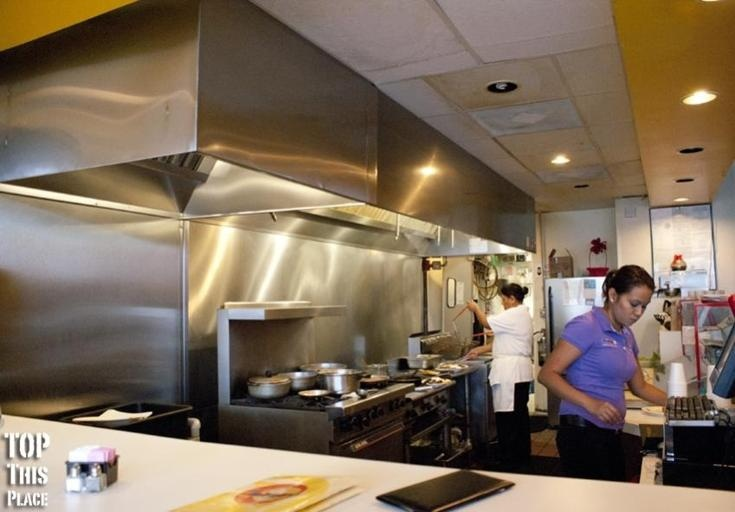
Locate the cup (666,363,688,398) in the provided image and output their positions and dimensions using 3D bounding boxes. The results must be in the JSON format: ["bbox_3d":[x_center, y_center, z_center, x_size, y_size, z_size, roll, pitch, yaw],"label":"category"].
[{"bbox_3d":[1.452,0.577,2.604,0.073,0.145,0.141,-2,-6,26],"label":"cup"}]

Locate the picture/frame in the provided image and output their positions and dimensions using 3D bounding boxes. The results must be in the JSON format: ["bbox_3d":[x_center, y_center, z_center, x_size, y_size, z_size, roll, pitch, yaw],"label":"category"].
[{"bbox_3d":[3.886,-0.072,6.840,0.742,1.132,0.016,-4,3,3],"label":"picture/frame"}]

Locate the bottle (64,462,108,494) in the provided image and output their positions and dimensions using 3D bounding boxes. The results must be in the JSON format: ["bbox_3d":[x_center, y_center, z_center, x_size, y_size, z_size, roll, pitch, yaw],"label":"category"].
[{"bbox_3d":[-0.929,0.729,1.828,0.122,0.095,0.034,1,-6,-7],"label":"bottle"}]

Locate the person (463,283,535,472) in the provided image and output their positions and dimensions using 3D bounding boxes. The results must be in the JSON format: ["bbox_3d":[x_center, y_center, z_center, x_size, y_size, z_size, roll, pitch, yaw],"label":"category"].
[{"bbox_3d":[1.341,1.181,5.576,0.608,1.799,0.725,-1,-6,13],"label":"person"}]

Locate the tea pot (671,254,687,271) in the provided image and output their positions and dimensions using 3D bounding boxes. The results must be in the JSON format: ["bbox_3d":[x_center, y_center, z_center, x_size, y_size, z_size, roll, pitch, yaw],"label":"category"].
[{"bbox_3d":[3.833,0.073,6.809,0.201,0.209,0.149,0,-6,10],"label":"tea pot"}]

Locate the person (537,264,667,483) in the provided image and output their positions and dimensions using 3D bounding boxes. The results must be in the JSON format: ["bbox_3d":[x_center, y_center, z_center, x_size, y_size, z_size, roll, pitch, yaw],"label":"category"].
[{"bbox_3d":[1.405,0.687,3.254,0.725,1.263,0.499,4,-7,-28],"label":"person"}]
